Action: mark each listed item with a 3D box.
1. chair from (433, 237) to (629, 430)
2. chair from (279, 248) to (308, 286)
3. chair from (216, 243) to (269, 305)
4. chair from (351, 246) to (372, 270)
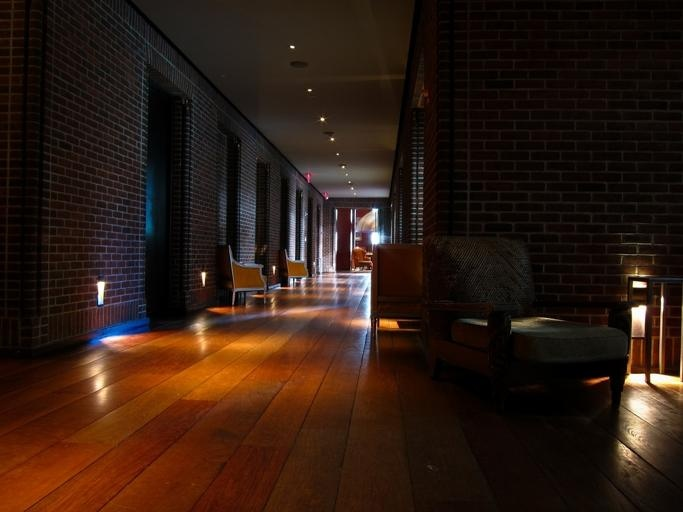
[{"bbox_3d":[1.184,0.379,3.240,0.918,1.069,1.370,1,-5,-11],"label":"chair"},{"bbox_3d":[-1.270,0.359,12.389,0.792,1.104,0.748,0,1,-17],"label":"chair"},{"bbox_3d":[-1.680,0.298,7.969,0.808,0.917,0.838,1,3,-13],"label":"chair"},{"bbox_3d":[0.867,0.154,21.179,0.915,1.087,0.794,3,4,5],"label":"chair"}]
